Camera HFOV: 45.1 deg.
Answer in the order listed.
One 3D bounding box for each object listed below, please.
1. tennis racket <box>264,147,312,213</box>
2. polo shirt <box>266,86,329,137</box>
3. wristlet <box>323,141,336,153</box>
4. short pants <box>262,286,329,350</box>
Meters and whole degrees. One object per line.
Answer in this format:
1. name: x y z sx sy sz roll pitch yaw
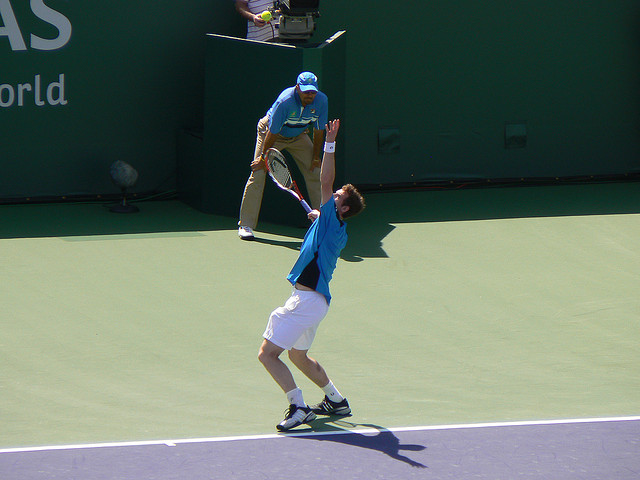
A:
1. tennis racket: -0.355 -0.687 9.498 0.109 1.371 0.405 -38 -55 7
2. polo shirt: -0.372 -1.722 10.982 0.878 0.398 1.039 -10 -7 -21
3. wristlet: 0.072 -0.771 6.552 0.092 0.066 0.083 3 5 18
4. short pants: -0.187 0.640 6.192 0.462 0.497 0.277 10 -24 -9
